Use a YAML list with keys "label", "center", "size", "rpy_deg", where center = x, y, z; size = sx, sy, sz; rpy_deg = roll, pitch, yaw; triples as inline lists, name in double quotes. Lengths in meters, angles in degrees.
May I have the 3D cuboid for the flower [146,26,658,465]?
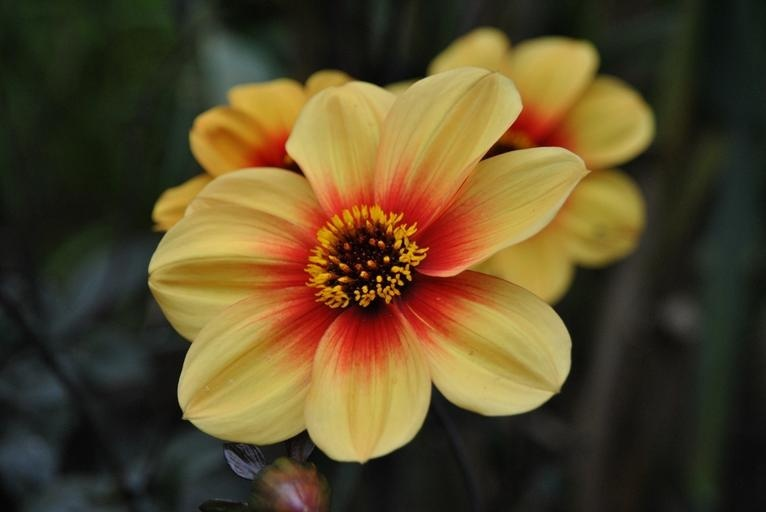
- label: "flower"
  center: [-0.025, -0.002, 0.965]
  size: [0.522, 0.183, 0.524]
  rpy_deg: [-40, 49, -22]
